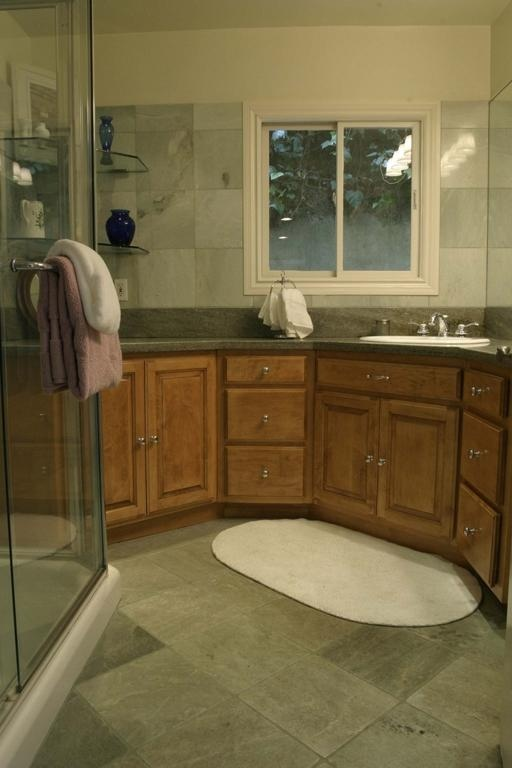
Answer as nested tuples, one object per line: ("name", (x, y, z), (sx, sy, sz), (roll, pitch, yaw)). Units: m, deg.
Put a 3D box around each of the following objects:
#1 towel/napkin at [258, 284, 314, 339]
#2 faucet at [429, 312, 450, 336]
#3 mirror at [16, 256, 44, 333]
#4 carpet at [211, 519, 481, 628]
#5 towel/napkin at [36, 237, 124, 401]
("towel/napkin", (0.148, -0.357, 2.927), (0.214, 0.245, 0.132), (8, 24, 11))
("faucet", (0.870, -0.284, 2.849), (0.096, 0.129, 0.484), (1, 4, 17))
("mirror", (-0.463, -0.183, 1.201), (0.036, 0.106, 0.076), (1, 27, 7))
("carpet", (0.326, 0.677, 2.213), (0.663, 0.023, 1.010), (-3, 5, -42))
("towel/napkin", (-0.391, -0.153, 1.420), (0.125, 0.364, 0.362), (1, 3, 13))
